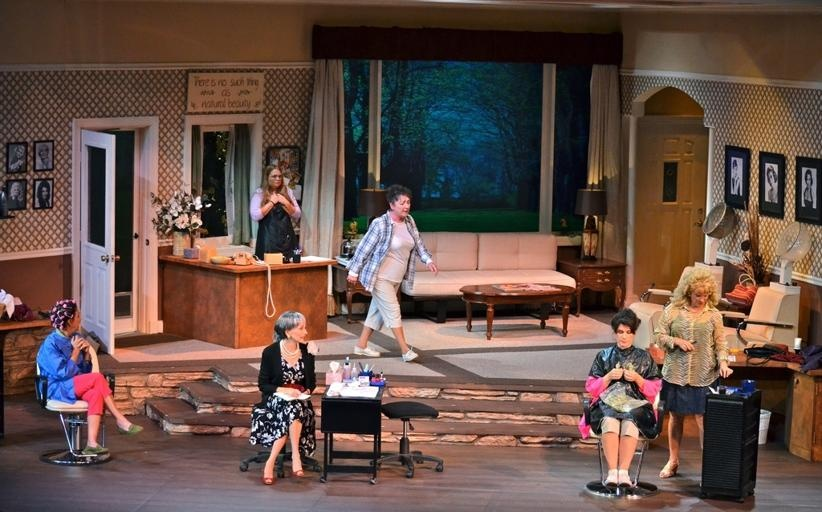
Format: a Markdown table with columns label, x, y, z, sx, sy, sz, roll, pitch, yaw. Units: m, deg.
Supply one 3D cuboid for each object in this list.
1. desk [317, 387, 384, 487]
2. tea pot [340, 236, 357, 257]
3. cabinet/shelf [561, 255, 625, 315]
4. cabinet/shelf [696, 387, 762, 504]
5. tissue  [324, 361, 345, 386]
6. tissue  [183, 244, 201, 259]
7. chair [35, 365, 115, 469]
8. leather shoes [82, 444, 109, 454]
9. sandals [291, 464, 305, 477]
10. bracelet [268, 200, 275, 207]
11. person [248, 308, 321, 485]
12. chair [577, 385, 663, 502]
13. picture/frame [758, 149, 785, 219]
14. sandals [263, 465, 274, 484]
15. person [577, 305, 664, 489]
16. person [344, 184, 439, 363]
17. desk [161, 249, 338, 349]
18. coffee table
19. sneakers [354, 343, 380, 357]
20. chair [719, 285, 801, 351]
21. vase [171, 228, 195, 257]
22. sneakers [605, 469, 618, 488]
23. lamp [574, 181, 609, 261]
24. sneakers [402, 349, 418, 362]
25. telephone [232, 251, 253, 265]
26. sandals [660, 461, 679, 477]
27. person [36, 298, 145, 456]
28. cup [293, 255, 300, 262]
| label | x | y | z | sx | sy | sz | roll | pitch | yaw |
| --- | --- | --- | --- | --- | --- | --- | --- | --- | --- |
| desk | -0.630 | 1.791 | 7.587 | 0.619 | 0.929 | 0.648 | 1 | 4 | -4 |
| tea pot | -1.043 | -0.162 | 12.076 | 0.328 | 0.425 | 0.282 | 2 | 1 | -20 |
| cabinet/shelf | 3.074 | 0.509 | 12.640 | 0.972 | 0.903 | 0.965 | 0 | 5 | -5 |
| cabinet/shelf | 3.154 | 1.850 | 7.233 | 0.681 | 1.018 | 0.355 | -2 | 5 | -38 |
| tissue  | -0.853 | 1.290 | 8.034 | 0.235 | 0.295 | 0.438 | 0 | 2 | 1 |
| tissue  | -3.159 | -0.081 | 10.562 | 0.205 | 0.126 | 0.208 | 3 | 7 | 19 |
| chair | -3.675 | 1.684 | 7.921 | 0.757 | 0.909 | 0.737 | -2 | -11 | 7 |
| leather shoes | -3.380 | 2.057 | 7.798 | 0.202 | 0.072 | 0.112 | 0 | 4 | -4 |
| sandals | -1.155 | 2.181 | 7.475 | 0.067 | 0.085 | 0.215 | 0 | -1 | -14 |
| bracelet | -2.002 | -0.748 | 10.443 | 0.100 | 0.080 | 0.038 | -3 | 5 | -42 |
| person | -1.304 | 1.406 | 7.454 | 0.651 | 1.694 | 0.397 | 0 | 4 | -12 |
| chair | 2.152 | 1.918 | 7.534 | 0.867 | 0.895 | 0.861 | 19 | -23 | -30 |
| picture/frame | 5.066 | -0.997 | 10.302 | 0.065 | 0.930 | 0.429 | -1 | 4 | -19 |
| sandals | -1.453 | 2.140 | 7.430 | 0.123 | 0.229 | 0.310 | 0 | 4 | -12 |
| person | 2.061 | 1.549 | 7.279 | 0.753 | 1.449 | 0.494 | 2 | 4 | 16 |
| person | -0.330 | 0.361 | 9.653 | 1.015 | 2.026 | 0.421 | 0 | 4 | -6 |
| desk | -2.403 | 0.621 | 11.010 | 1.906 | 1.127 | 1.918 | 4 | 5 | 35 |
| coffee table | 1.591 | 0.806 | 11.304 | 1.726 | 0.769 | 1.206 | 1 | 4 | -1 |
| sneakers | -0.611 | 1.263 | 9.884 | 0.348 | 0.136 | 0.144 | 3 | 5 | 3 |
| chair | 4.461 | 0.957 | 9.798 | 1.007 | 0.997 | 0.709 | -1 | 6 | -6 |
| vase | -3.368 | -0.171 | 10.738 | 0.348 | 0.373 | 0.323 | 4 | 4 | -2 |
| sneakers | 1.941 | 2.149 | 7.144 | 0.122 | 0.168 | 0.093 | 2 | 4 | 17 |
| lamp | 3.062 | -0.532 | 12.553 | 0.555 | 1.180 | 0.559 | 2 | 0 | 29 |
| sneakers | -0.040 | 1.314 | 9.656 | 0.119 | 0.084 | 0.205 | -5 | 1 | -35 |
| telephone | -2.325 | 0.031 | 10.112 | 0.294 | 0.170 | 0.215 | 0 | 4 | -13 |
| sandals | 2.720 | 2.219 | 7.654 | 0.101 | 0.138 | 0.308 | -2 | -4 | 42 |
| person | -3.512 | 1.287 | 7.764 | 0.875 | 1.633 | 0.363 | 0 | 4 | -18 |
| cup | -1.619 | 0.030 | 10.294 | 0.096 | 0.104 | 0.102 | 0 | -4 | 0 |
